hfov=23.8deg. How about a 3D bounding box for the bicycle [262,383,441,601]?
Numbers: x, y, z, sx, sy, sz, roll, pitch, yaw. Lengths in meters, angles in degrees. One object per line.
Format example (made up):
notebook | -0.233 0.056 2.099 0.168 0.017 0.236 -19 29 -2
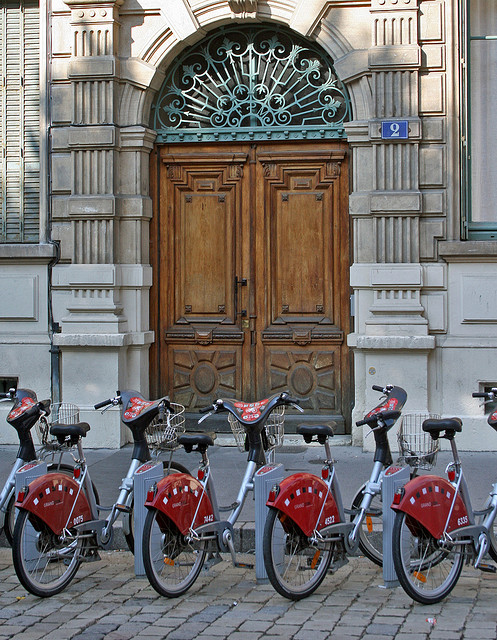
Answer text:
bicycle | 0.668 0.989 6.813 1.536 1.114 0.432 1 1 -40

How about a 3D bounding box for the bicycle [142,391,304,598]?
bicycle | -0.069 0.967 6.865 0.553 0.982 1.409 -3 0 43

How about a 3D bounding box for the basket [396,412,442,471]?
basket | 0.958 0.677 6.623 0.273 0.365 0.288 2 -3 15

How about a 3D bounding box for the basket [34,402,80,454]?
basket | -1.099 0.623 6.936 0.202 0.273 0.273 1 8 -10

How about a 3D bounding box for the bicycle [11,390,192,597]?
bicycle | -0.754 0.981 6.903 0.540 1.051 1.520 1 3 39

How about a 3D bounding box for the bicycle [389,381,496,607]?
bicycle | 1.062 1.051 6.492 0.884 1.002 0.358 -7 10 -40

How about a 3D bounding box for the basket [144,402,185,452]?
basket | -0.507 0.594 6.920 0.212 0.288 0.301 -1 -2 16
